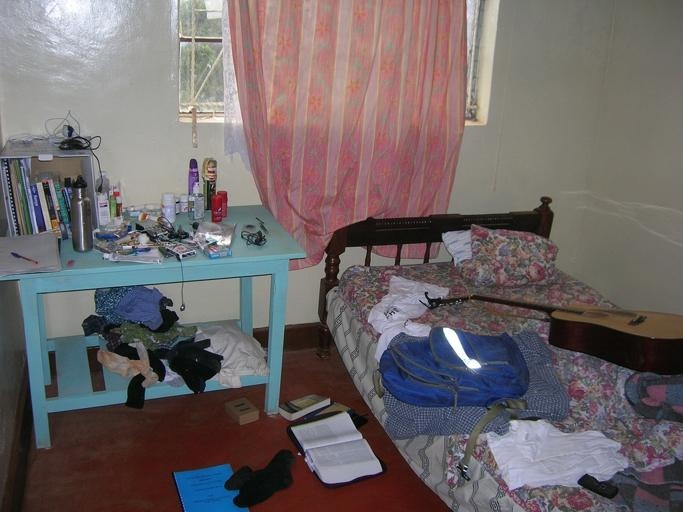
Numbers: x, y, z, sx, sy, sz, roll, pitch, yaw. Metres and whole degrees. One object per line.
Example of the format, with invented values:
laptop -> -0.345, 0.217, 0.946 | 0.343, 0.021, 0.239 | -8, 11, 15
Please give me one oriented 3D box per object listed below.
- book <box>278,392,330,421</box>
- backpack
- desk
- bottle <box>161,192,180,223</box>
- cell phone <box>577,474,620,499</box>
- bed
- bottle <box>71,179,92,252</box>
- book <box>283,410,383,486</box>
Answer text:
book -> -0.192, 0.803, 2.843 | 0.191, 0.041, 0.116 | -14, 20, -41
backpack -> 0.500, 0.500, 2.342 | 0.487, 0.127, 0.386 | -1, 37, 5
desk -> -0.991, 0.626, 3.168 | 1.760, 1.231, 1.046 | -7, 31, -16
bottle -> -0.886, -0.245, 2.758 | 0.094, 0.169, 0.096 | 6, 26, -3
cell phone -> 0.951, 0.849, 1.956 | 0.116, 0.032, 0.068 | 16, 52, 20
bed -> 0.625, 0.426, 2.672 | 1.167, 0.773, 1.663 | -6, 30, -16
bottle -> -1.191, -0.191, 2.420 | 0.098, 0.315, 0.174 | -10, 22, -26
book -> -0.021, 0.939, 2.611 | 0.366, 0.137, 0.451 | -4, 15, -25
